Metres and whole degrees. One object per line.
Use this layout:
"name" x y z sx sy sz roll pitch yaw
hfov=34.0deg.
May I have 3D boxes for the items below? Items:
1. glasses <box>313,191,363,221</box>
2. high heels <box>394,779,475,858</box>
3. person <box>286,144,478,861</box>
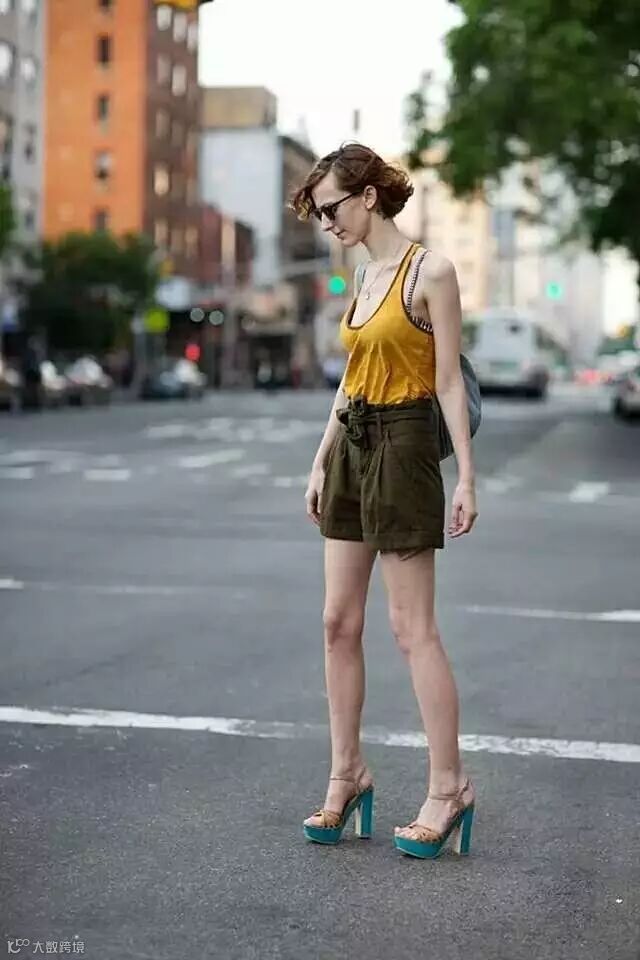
"glasses" 0.046 -0.709 2.728 0.104 0.031 0.097 -23 4 -10
"high heels" 0.295 0.866 2.688 0.234 0.169 0.125 1 -6 -20
"person" 0.166 0.035 2.760 0.520 1.828 0.292 4 6 38
